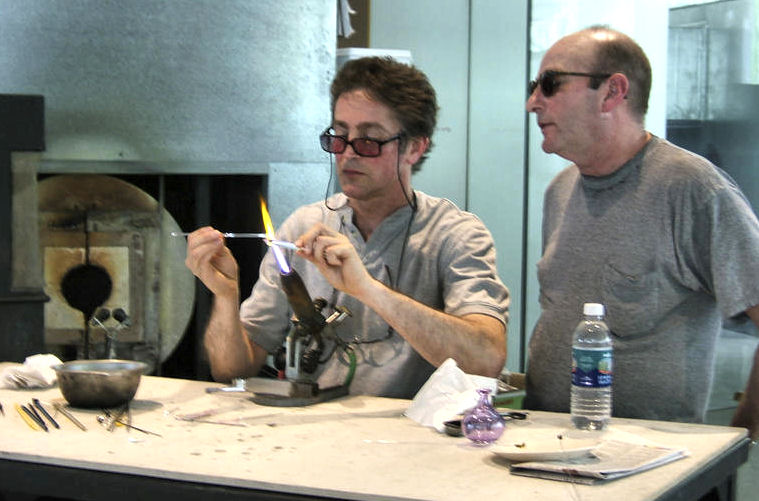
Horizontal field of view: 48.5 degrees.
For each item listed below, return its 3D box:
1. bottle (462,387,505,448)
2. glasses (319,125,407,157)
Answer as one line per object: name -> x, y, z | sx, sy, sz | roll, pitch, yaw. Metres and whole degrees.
bottle -> 0.394, 0.642, 3.283 | 0.202, 0.237, 0.192 | 1, -14, 4
glasses -> -0.088, -0.533, 4.096 | 0.395, 0.162, 0.202 | 0, 0, 1
